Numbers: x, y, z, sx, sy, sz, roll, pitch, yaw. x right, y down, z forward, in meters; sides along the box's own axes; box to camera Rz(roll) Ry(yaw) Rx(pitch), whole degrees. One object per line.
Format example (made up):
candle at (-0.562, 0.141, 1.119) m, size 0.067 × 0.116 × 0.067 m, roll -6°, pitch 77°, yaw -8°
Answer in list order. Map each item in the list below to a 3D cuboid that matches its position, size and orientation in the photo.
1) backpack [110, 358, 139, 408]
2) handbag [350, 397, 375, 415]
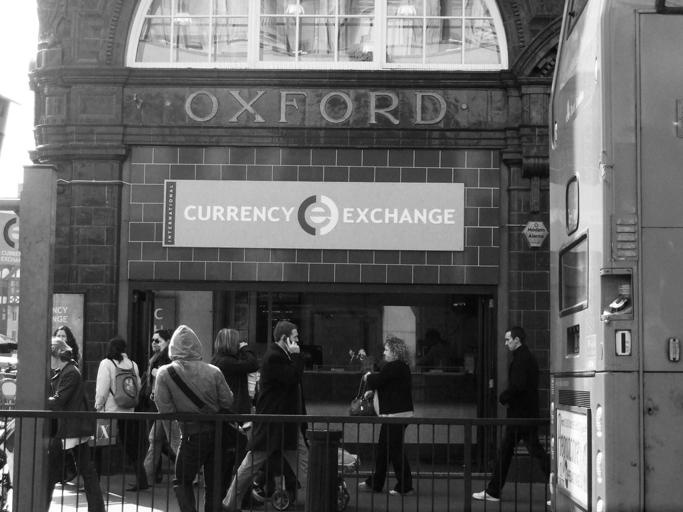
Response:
backpack at (-2.801, 1.703, 16.004) m, size 0.395 × 0.640 × 0.313 m, roll 14°, pitch -33°, yaw -40°
handbag at (0.283, 2.017, 16.620) m, size 0.224 × 0.243 × 0.239 m, roll 0°, pitch -4°, yaw 6°
